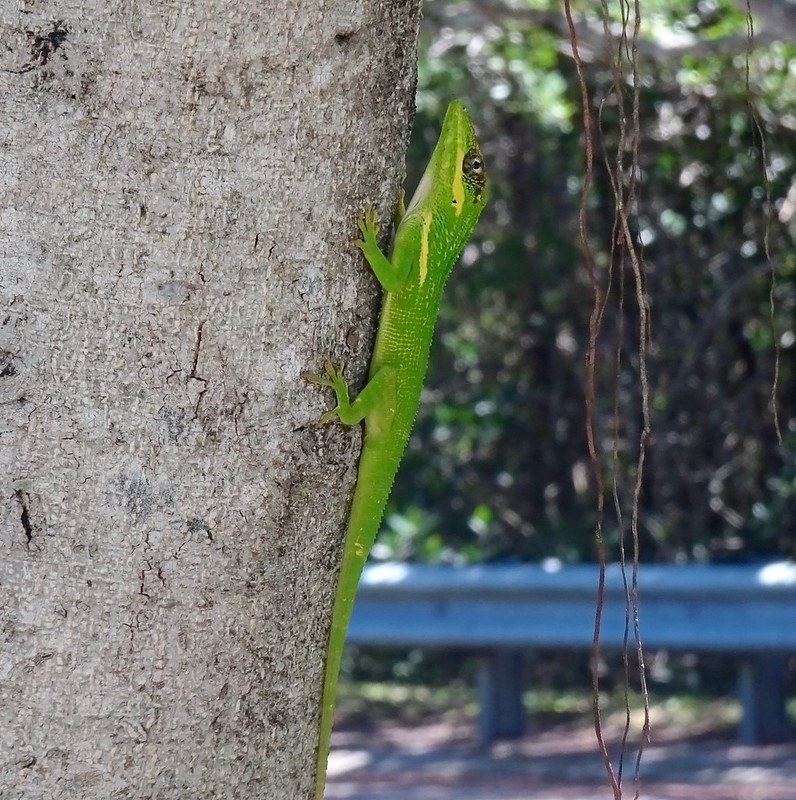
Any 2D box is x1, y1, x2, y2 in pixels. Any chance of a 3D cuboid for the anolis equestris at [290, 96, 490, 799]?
[{"bbox_3d":[0.004,-0.032,2.934,0.204,1.689,0.331,0,-19,26],"label":"anolis equestris"}]
